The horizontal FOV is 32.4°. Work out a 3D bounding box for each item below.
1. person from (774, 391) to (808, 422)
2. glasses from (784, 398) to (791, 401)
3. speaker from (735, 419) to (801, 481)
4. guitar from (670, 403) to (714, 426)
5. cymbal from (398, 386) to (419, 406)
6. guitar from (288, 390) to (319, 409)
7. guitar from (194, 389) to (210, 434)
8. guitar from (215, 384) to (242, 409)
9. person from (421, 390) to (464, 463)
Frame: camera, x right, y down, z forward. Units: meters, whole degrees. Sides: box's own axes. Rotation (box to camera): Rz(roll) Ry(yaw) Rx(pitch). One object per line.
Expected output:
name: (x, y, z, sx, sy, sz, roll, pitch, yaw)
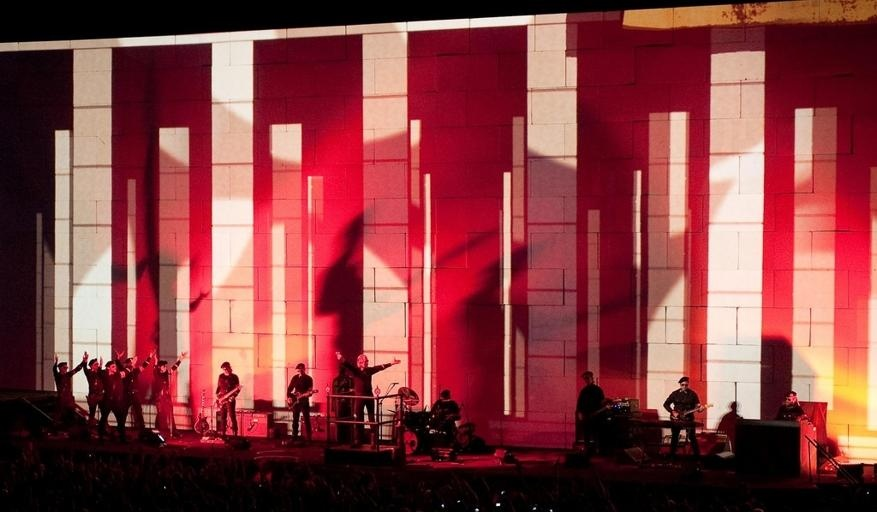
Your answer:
person: (7.215, 3.100, 31.192, 0.346, 0.648, 0.676, 4, -5, -44)
glasses: (7.128, 2.950, 31.120, 0.103, 0.054, 0.083, -3, -5, 26)
speaker: (6.313, 3.831, 30.503, 1.625, 1.098, 0.738, 6, -6, -26)
guitar: (5.212, 3.242, 31.562, 0.863, 0.407, 0.899, -1, -8, 7)
cymbal: (-0.717, 2.911, 31.602, 0.394, 0.320, 0.461, 0, -8, 0)
guitar: (-2.875, 3.054, 32.618, 0.488, 0.403, 0.822, -3, -9, 20)
guitar: (-5.234, 3.404, 33.128, 0.322, 0.967, 0.474, 2, -10, -8)
guitar: (-4.597, 3.012, 32.527, 0.706, 0.220, 0.096, -26, -11, -11)
person: (-0.007, 3.482, 31.749, 0.706, 1.288, 0.353, 0, -10, -2)
